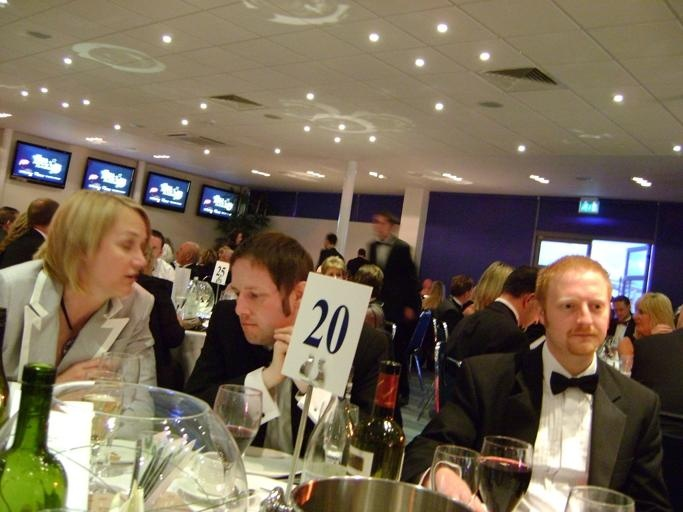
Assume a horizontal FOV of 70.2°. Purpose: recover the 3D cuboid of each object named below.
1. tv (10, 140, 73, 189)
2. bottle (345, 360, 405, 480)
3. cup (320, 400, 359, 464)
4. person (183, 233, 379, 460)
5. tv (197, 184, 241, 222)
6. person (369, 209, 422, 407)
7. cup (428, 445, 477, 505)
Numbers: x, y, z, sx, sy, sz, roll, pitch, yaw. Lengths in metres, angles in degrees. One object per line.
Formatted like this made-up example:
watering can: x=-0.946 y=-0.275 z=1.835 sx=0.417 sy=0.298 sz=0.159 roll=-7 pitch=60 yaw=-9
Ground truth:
tv: x=-8.486 y=-2.564 z=13.587 sx=1.183 sy=1.030 sz=0.156 roll=20 pitch=-6 yaw=-38
bottle: x=0.081 y=0.398 z=1.076 sx=0.098 sy=0.310 sz=0.099 roll=10 pitch=3 yaw=0
cup: x=0.003 y=0.377 z=1.127 sx=0.060 sy=0.156 sz=0.061 roll=-9 pitch=25 yaw=4
person: x=-0.233 y=0.389 z=1.835 sx=0.684 sy=0.887 sz=0.540 roll=3 pitch=-6 yaw=35
tv: x=-4.333 y=-1.836 z=16.884 sx=1.196 sy=0.891 sz=0.164 roll=9 pitch=0 yaw=-36
person: x=0.587 y=0.580 z=5.807 sx=0.767 sy=2.266 sz=0.686 roll=0 pitch=-17 yaw=-6
cup: x=0.246 y=0.483 z=1.080 sx=0.094 sy=0.103 sz=0.100 roll=3 pitch=-11 yaw=1
